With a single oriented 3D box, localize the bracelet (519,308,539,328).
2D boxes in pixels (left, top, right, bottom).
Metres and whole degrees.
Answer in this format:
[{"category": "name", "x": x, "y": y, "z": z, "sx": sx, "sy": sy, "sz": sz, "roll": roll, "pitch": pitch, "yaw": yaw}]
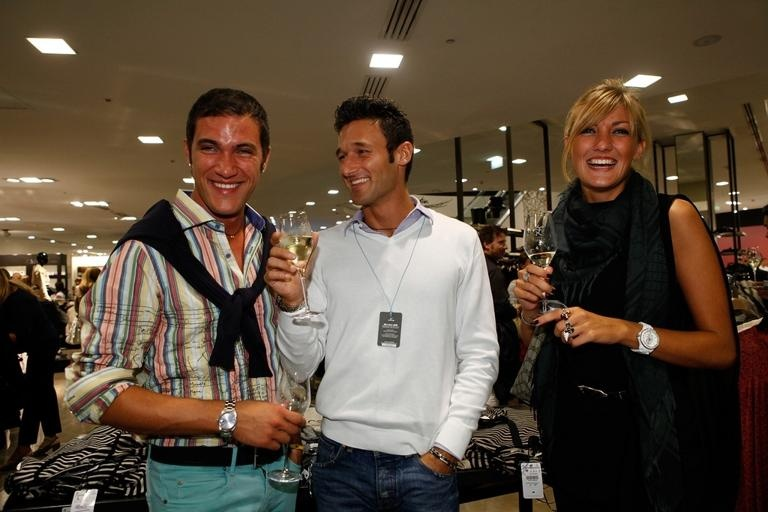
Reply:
[{"category": "bracelet", "x": 0.799, "y": 0.335, "z": 2.561, "sx": 0.092, "sy": 0.095, "sz": 0.038, "roll": -9, "pitch": -4, "yaw": 22}]
